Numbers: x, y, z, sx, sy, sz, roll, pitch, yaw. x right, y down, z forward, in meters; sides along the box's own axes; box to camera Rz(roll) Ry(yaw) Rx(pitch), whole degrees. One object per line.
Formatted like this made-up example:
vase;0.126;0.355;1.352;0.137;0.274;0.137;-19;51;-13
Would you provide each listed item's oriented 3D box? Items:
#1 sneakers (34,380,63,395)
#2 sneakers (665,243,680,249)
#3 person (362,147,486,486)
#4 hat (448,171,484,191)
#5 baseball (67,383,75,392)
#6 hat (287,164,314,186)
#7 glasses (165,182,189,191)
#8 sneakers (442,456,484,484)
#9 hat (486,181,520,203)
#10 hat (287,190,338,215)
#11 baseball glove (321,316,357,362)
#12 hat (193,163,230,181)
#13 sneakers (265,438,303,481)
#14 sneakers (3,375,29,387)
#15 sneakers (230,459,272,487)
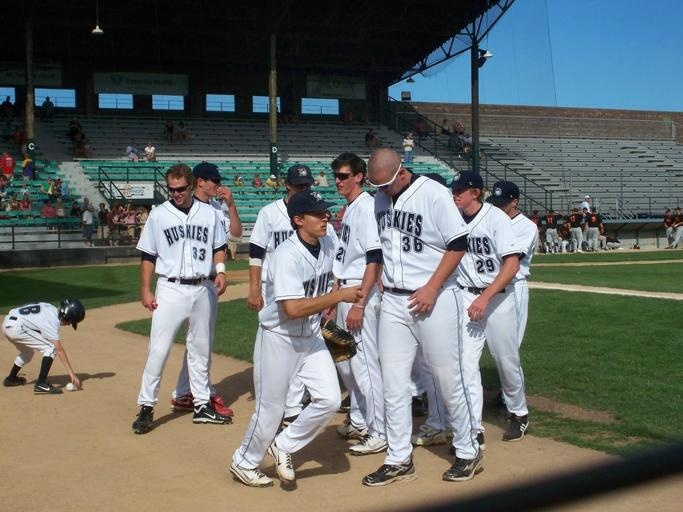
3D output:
sneakers;-4.206;1.918;12.521;0.441;0.184;0.158;2;-2;-11
sneakers;12.319;-0.373;32.417;0.178;0.223;0.547;5;9;-2
person;0.956;0.677;10.373;1.138;3.844;1.196;-2;13;1
hat;1.590;-0.954;10.989;0.326;0.172;0.235;3;7;-4
baseball;-3.910;1.905;12.559;0.124;0.094;0.128;-2;4;-21
hat;-0.558;-1.058;11.351;0.242;0.188;0.334;-1;9;-11
glasses;-2.213;-0.900;11.636;0.280;0.103;0.135;4;14;28
sneakers;1.483;2.526;10.274;0.553;0.269;0.216;-4;-1;-25
hat;2.113;-0.841;11.397;0.363;0.200;0.261;-3;12;-12
hat;-0.397;-0.629;10.071;0.417;0.171;0.283;-3;8;2
baseball glove;-0.114;1.043;10.596;0.379;0.215;0.498;24;28;-48
hat;-1.853;-1.174;12.009;0.344;0.183;0.247;6;14;-16
sneakers;-0.688;2.459;10.343;0.586;0.287;0.214;54;14;25
sneakers;-4.812;1.863;12.861;0.333;0.139;0.141;-5;10;-27
sneakers;-1.067;2.615;10.366;0.578;0.256;0.225;19;3;2
